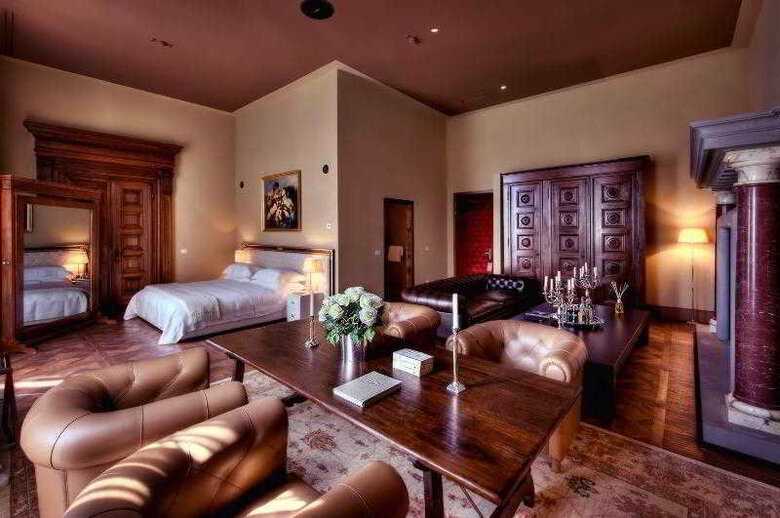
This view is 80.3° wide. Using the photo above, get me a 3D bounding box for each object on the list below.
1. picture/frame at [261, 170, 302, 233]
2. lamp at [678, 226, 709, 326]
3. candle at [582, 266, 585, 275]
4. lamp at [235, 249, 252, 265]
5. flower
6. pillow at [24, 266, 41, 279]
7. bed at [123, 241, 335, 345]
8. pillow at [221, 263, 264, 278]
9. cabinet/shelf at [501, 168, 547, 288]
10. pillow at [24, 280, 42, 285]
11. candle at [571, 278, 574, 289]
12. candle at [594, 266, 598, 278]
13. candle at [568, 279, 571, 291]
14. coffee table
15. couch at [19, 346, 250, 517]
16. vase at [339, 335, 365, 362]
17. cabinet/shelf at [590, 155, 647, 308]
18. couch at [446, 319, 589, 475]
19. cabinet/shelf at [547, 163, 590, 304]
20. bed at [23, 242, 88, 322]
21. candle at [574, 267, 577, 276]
[{"bbox_3d":[-2.076,-1.152,9.043,1.197,1.223,0.088,3,5,42],"label":"picture/frame"},{"bbox_3d":[4.995,0.266,7.626,0.408,1.598,0.542,1,5,34],"label":"lamp"},{"bbox_3d":[2.677,0.182,6.376,0.040,0.079,0.101,1,4,24],"label":"candle"},{"bbox_3d":[-3.056,-0.053,9.555,0.332,0.354,0.345,1,8,8],"label":"lamp"},{"bbox_3d":[-0.333,0.525,4.577,0.565,0.527,0.556,-10,15,-38],"label":"flower"},{"bbox_3d":[-5.374,0.202,6.926,0.136,0.129,0.180,-7,15,-42],"label":"pillow"},{"bbox_3d":[-2.612,0.585,7.757,2.092,0.949,2.267,-2,4,-43],"label":"bed"},{"bbox_3d":[-2.847,0.228,8.848,0.381,0.135,0.448,1,16,9],"label":"pillow"},{"bbox_3d":[2.686,-0.491,9.049,0.851,2.308,0.243,5,16,35],"label":"cabinet/shelf"},{"bbox_3d":[-5.351,0.342,6.915,0.037,0.078,0.202,0,4,20],"label":"pillow"},{"bbox_3d":[2.424,0.324,6.142,0.020,0.115,0.149,2,5,39],"label":"candle"},{"bbox_3d":[3.597,0.244,8.051,0.038,0.204,0.466,1,5,28],"label":"candle"},{"bbox_3d":[2.405,0.338,6.148,0.048,0.155,0.160,0,4,20],"label":"candle"},{"bbox_3d":[2.285,1.081,5.648,1.103,0.397,1.643,1,4,35],"label":"coffee table"},{"bbox_3d":[-2.237,1.387,4.092,1.529,1.258,1.443,-13,18,-39],"label":"couch"},{"bbox_3d":[-0.381,0.845,4.576,0.245,0.279,0.243,-2,4,-15],"label":"vase"},{"bbox_3d":[4.097,-0.356,8.349,0.900,3.250,0.467,4,37,31],"label":"cabinet/shelf"},{"bbox_3d":[1.358,1.263,4.681,1.224,1.089,1.031,6,10,42],"label":"couch"},{"bbox_3d":[3.349,-0.461,8.639,0.663,2.299,0.182,1,32,23],"label":"cabinet/shelf"},{"bbox_3d":[-5.518,0.355,7.458,1.596,0.908,1.180,13,11,41],"label":"bed"},{"bbox_3d":[3.387,0.219,8.382,0.074,0.150,0.115,0,4,14],"label":"candle"}]
